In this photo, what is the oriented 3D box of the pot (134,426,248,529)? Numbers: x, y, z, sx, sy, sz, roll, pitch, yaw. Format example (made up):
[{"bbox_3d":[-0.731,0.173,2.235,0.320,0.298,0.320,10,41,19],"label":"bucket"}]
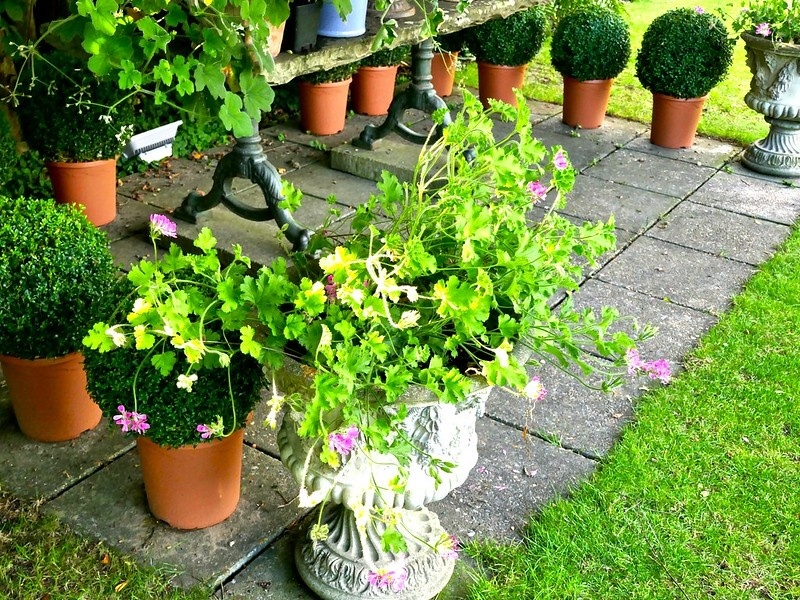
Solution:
[{"bbox_3d":[-0.681,0.587,2.024,0.384,0.339,0.381,1,4,0],"label":"pot"}]

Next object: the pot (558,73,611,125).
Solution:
[{"bbox_3d":[1.671,-1.806,5.250,0.410,0.361,0.438,3,27,-1],"label":"pot"}]

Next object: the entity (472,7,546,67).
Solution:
[{"bbox_3d":[0.987,-2.358,5.338,0.512,0.507,0.594,6,13,2],"label":"entity"}]

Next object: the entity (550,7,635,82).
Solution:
[{"bbox_3d":[1.659,-2.180,5.145,0.585,0.659,0.638,-3,41,8],"label":"entity"}]

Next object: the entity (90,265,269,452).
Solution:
[{"bbox_3d":[-0.703,0.221,1.900,0.551,0.344,0.610,1,-2,9],"label":"entity"}]
